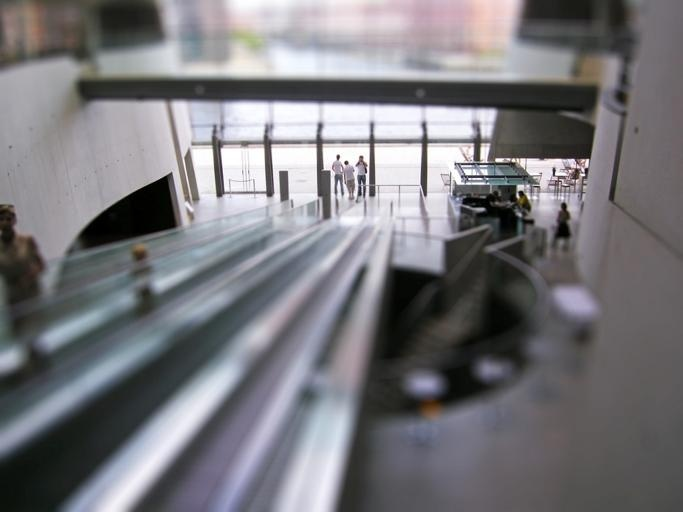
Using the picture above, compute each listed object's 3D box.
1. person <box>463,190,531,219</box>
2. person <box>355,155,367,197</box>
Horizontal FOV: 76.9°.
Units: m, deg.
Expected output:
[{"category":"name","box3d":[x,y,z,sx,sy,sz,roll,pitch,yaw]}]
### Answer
[{"category":"person","box3d":[3.418,-1.143,9.357,1.023,0.260,0.989,2,23,3]},{"category":"person","box3d":[0.684,-2.754,14.627,0.384,1.379,1.282,7,10,1]}]
